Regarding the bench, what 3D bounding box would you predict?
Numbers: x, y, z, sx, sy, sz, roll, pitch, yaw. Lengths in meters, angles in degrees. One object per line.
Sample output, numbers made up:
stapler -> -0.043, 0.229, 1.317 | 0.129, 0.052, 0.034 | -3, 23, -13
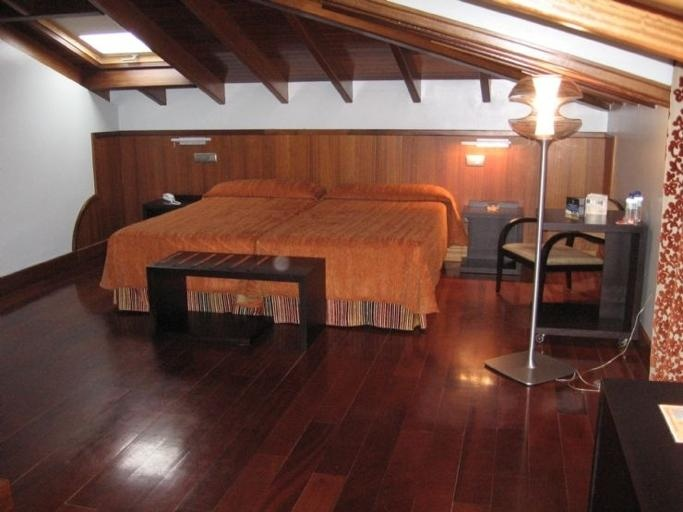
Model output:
bench -> -0.751, 0.277, 3.578 | 1.196, 0.568, 0.438 | 1, 10, 13

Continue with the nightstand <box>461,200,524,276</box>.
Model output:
nightstand -> 1.393, -0.186, 5.118 | 0.892, 0.695, 0.733 | 1, 4, 13

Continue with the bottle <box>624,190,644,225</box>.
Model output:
bottle -> 1.909, -0.316, 3.262 | 0.093, 0.202, 0.153 | 4, 11, 27

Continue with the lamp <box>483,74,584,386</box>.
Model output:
lamp -> 1.129, -0.138, 2.868 | 0.533, 1.716, 0.375 | -2, 10, -1

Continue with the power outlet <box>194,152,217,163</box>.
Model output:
power outlet -> -1.607, -1.161, 5.906 | 0.273, 0.128, 0.072 | 2, 10, 16

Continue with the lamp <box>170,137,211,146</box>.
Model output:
lamp -> -1.786, -1.351, 5.907 | 0.503, 0.103, 0.099 | 2, 10, 17

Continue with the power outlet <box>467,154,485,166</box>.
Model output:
power outlet -> 1.433, -1.015, 5.325 | 0.198, 0.134, 0.037 | 2, 11, 18

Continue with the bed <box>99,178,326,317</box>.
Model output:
bed -> -1.072, -0.225, 4.528 | 1.307, 0.609, 1.853 | 3, 12, 13
